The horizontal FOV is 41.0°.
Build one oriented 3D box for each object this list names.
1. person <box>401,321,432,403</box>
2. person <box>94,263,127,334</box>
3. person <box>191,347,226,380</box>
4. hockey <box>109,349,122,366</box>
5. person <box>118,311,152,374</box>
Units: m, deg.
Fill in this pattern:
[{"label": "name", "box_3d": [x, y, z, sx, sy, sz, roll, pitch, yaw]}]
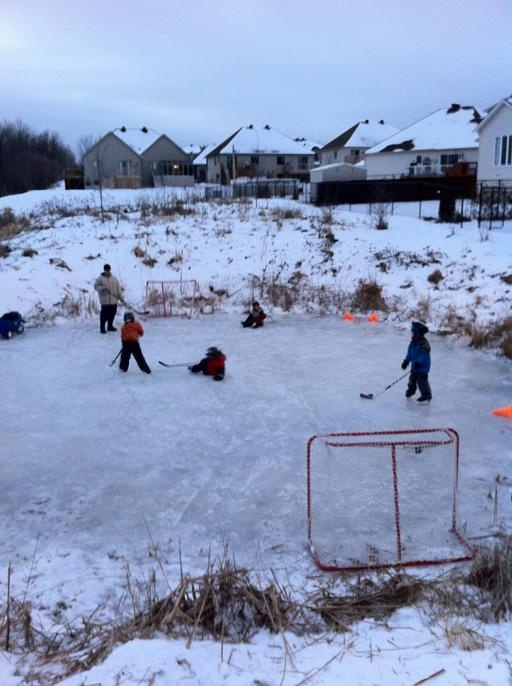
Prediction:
[{"label": "person", "box_3d": [2.636, 0.326, 10.848, 0.451, 1.289, 0.543, -3, 11, -18]}, {"label": "person", "box_3d": [-3.679, -1.039, 15.985, 0.510, 1.673, 0.440, -14, 26, -39]}, {"label": "person", "box_3d": [-0.910, 0.336, 12.316, 0.471, 0.617, 0.937, -6, 13, -28]}, {"label": "hockey", "box_3d": [-3.004, 0.302, 13.597, 0.075, 0.443, 0.054, 22, 47, -26]}, {"label": "person", "box_3d": [-2.418, -0.056, 12.421, 0.480, 1.346, 0.451, 0, 36, -6]}]
